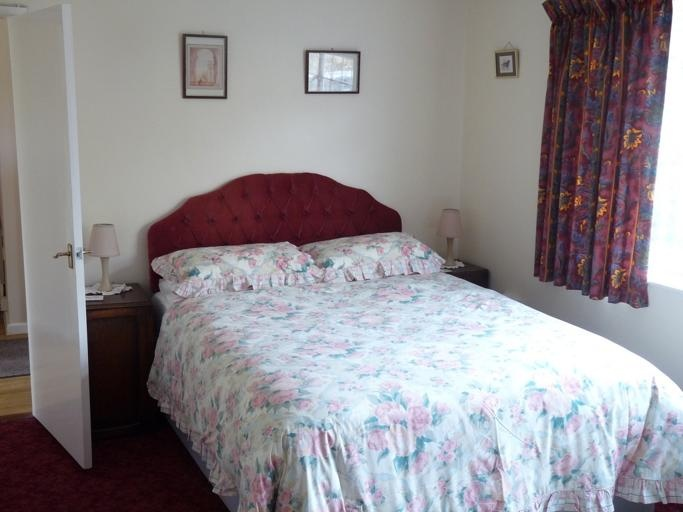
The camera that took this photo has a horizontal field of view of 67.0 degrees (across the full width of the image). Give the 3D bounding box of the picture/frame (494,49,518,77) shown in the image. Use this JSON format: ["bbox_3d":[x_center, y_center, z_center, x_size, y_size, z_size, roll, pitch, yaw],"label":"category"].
[{"bbox_3d":[1.197,-1.406,3.744,0.020,0.218,0.204,-8,11,-33],"label":"picture/frame"}]

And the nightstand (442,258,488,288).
[{"bbox_3d":[0.966,0.111,3.977,0.228,0.229,0.223,-13,21,-42],"label":"nightstand"}]

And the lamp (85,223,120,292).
[{"bbox_3d":[-1.514,0.000,3.251,0.184,0.403,0.213,-4,14,-28],"label":"lamp"}]
